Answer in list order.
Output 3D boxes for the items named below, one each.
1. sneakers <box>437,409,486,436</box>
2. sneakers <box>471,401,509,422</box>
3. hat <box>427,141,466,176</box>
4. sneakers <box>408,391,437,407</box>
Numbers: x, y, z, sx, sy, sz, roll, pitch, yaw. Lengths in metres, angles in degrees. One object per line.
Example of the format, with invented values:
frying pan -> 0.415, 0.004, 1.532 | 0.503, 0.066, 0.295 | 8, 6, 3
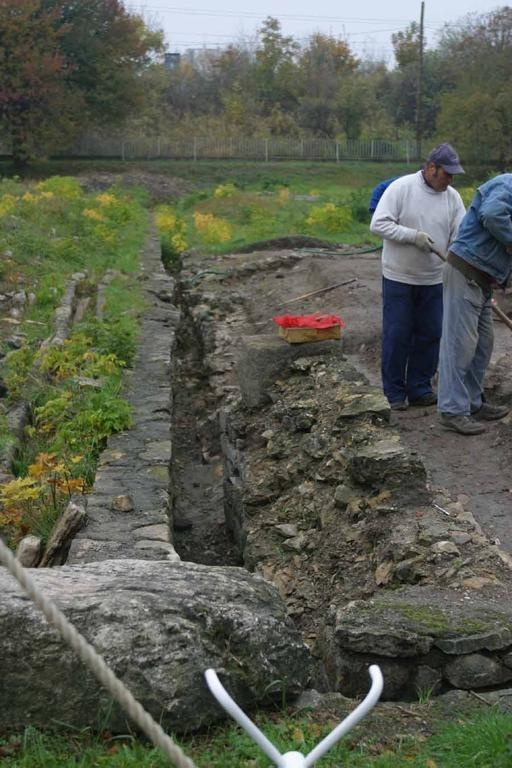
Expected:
sneakers -> 1.360, 0.253, 5.414 | 0.316, 0.134, 0.117 | 8, 22, 39
sneakers -> 1.599, 0.199, 5.608 | 0.270, 0.123, 0.102 | -7, 23, 12
hat -> 1.242, -1.432, 5.274 | 0.278, 0.172, 0.197 | 29, 35, 19
sneakers -> 1.257, 0.115, 6.130 | 0.218, 0.094, 0.081 | -5, 19, 12
